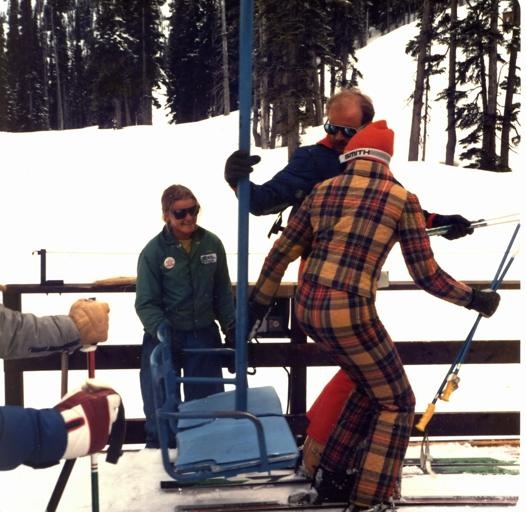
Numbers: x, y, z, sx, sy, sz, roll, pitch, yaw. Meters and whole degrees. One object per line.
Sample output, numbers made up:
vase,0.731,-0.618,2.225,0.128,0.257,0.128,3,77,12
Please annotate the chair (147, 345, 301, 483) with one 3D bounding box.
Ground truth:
chair,-0.250,0.829,6.087,0.834,0.886,0.946,-6,22,-4

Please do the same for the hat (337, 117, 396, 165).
hat,0.687,-0.713,6.058,0.315,0.253,0.226,16,11,31

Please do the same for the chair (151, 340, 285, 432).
chair,-0.300,0.868,6.183,0.805,0.604,0.533,-2,13,-8

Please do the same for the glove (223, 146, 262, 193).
glove,-0.129,-0.534,5.979,0.220,0.247,0.180,-1,9,3

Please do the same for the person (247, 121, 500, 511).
person,0.634,0.380,6.103,1.405,2.441,0.540,2,10,22
